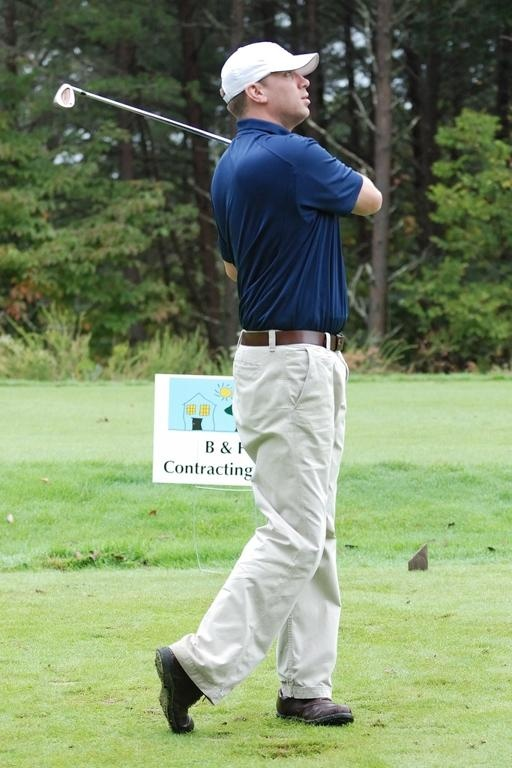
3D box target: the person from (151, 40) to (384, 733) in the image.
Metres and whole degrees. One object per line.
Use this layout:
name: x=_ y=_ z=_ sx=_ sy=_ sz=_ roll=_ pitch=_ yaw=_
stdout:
person: x=0.044 y=0.112 z=3.771 sx=0.626 sy=1.712 sz=0.308 roll=-1 pitch=1 yaw=-4

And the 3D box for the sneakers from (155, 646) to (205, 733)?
sneakers: x=-0.210 y=0.839 z=3.725 sx=0.130 sy=0.283 sz=0.095 roll=-12 pitch=23 yaw=-3

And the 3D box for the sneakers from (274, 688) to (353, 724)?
sneakers: x=0.177 y=0.915 z=3.800 sx=0.190 sy=0.083 sz=0.076 roll=-3 pitch=-7 yaw=24

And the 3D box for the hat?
hat: x=0.046 y=-0.867 z=3.838 sx=0.235 sy=0.120 sz=0.164 roll=-22 pitch=11 yaw=3
